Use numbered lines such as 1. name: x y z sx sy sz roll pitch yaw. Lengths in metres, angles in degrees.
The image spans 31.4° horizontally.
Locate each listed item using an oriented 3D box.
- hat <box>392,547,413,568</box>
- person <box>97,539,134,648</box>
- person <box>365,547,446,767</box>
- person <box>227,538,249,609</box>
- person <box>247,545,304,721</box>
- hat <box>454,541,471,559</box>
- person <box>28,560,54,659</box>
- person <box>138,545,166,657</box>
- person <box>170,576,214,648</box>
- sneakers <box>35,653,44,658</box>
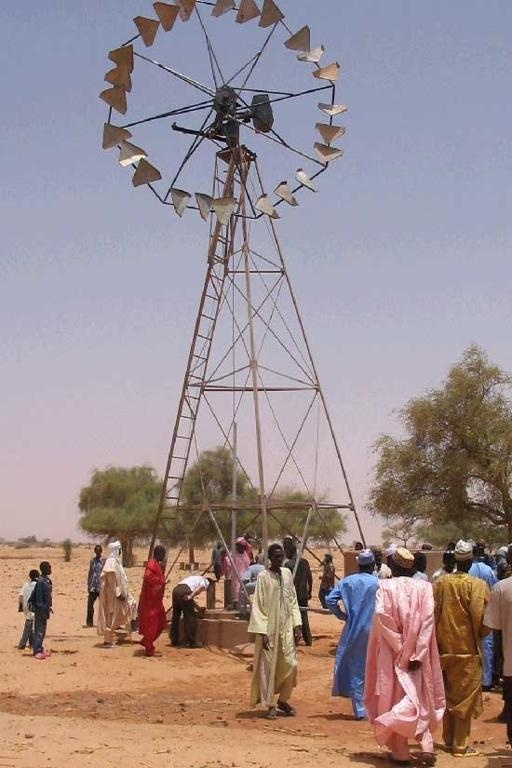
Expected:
1. hat: 1.342 1.588 8.457 0.193 0.096 0.185 18 17 -18
2. person: -2.397 3.597 15.685 0.559 1.711 1.200 4 -11 -6
3. person: 1.294 2.524 8.044 0.703 1.579 0.547 0 -11 13
4. person: -0.326 3.585 17.359 0.372 1.247 0.823 -3 -6 35
5. person: 0.208 2.724 10.087 0.390 1.843 0.757 -2 -12 24
6. hat: 1.928 1.558 8.510 0.125 0.112 0.180 -1 8 4
7. person: -3.312 3.453 13.973 0.325 1.399 1.354 5 -11 -12
8. person: -1.635 3.442 14.544 0.469 1.691 1.000 4 -11 -6
9. person: -1.142 3.839 15.299 0.560 1.134 0.925 4 -11 -5
10. sneakers: -3.209 4.061 13.578 0.139 0.069 0.186 6 -11 -19
